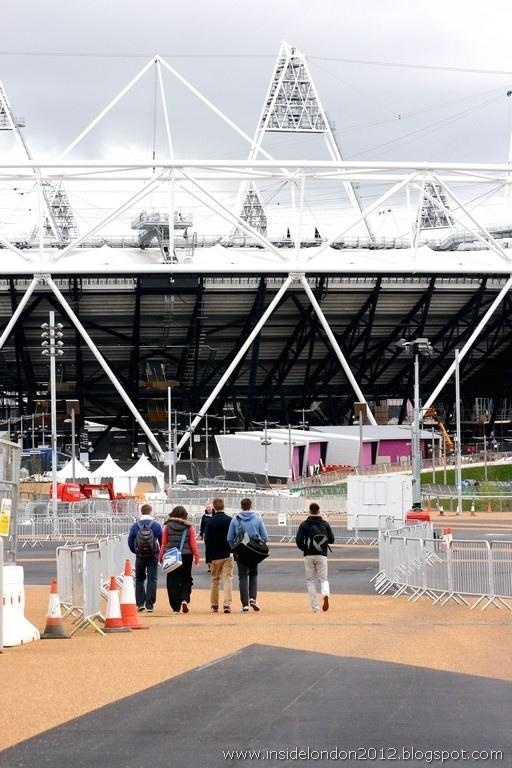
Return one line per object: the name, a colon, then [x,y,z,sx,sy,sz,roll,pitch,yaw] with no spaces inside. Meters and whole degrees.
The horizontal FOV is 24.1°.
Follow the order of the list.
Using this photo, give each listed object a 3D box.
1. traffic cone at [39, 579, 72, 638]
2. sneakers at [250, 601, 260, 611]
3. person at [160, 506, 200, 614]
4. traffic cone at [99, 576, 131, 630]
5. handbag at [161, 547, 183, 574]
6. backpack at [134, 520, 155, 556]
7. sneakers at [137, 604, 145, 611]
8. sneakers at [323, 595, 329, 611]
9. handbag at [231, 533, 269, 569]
traffic cone: [-2.002,2.242,11.979,0.386,0.566,0.440,2,-4,-20]
sneakers: [-0.011,2.701,14.475,0.054,0.070,0.163,-10,-44,20]
person: [-0.920,2.138,14.515,0.456,1.292,1.617,-1,-7,-4]
traffic cone: [-1.481,2.338,12.613,0.356,0.492,0.380,-2,-1,-16]
handbag: [-0.977,2.071,14.102,0.227,0.238,0.122,-16,-24,36]
backpack: [-1.343,1.908,14.658,0.240,0.440,0.293,0,-7,-10]
sneakers: [-1.418,2.808,14.952,0.119,0.092,0.043,-4,3,8]
sneakers: [0.837,2.628,14.289,0.064,0.196,0.072,1,-1,-4]
handbag: [-0.061,1.973,14.038,0.355,0.402,0.156,30,33,-4]
